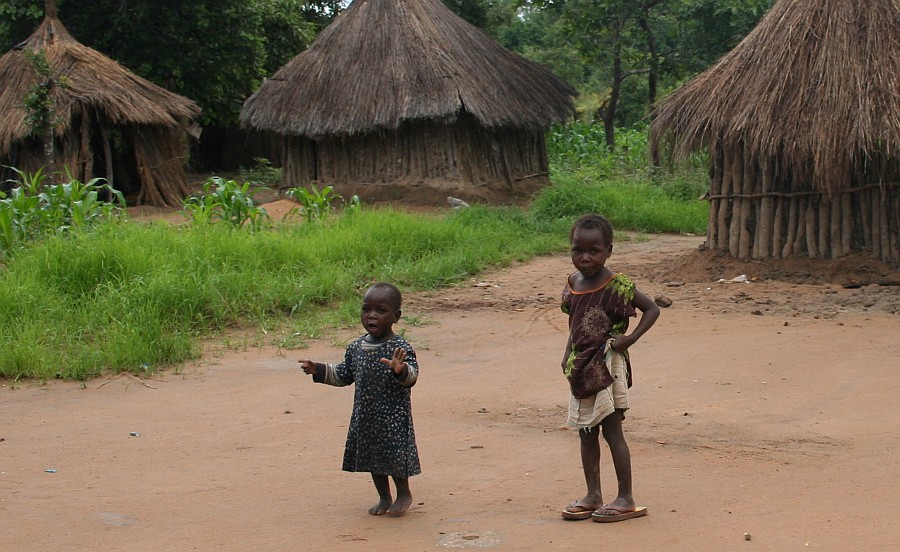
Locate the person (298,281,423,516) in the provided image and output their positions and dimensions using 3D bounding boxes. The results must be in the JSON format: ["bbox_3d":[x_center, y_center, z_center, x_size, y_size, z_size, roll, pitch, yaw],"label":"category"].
[{"bbox_3d":[-0.708,1.136,11.087,0.868,2.153,0.431,0,3,26],"label":"person"}]
